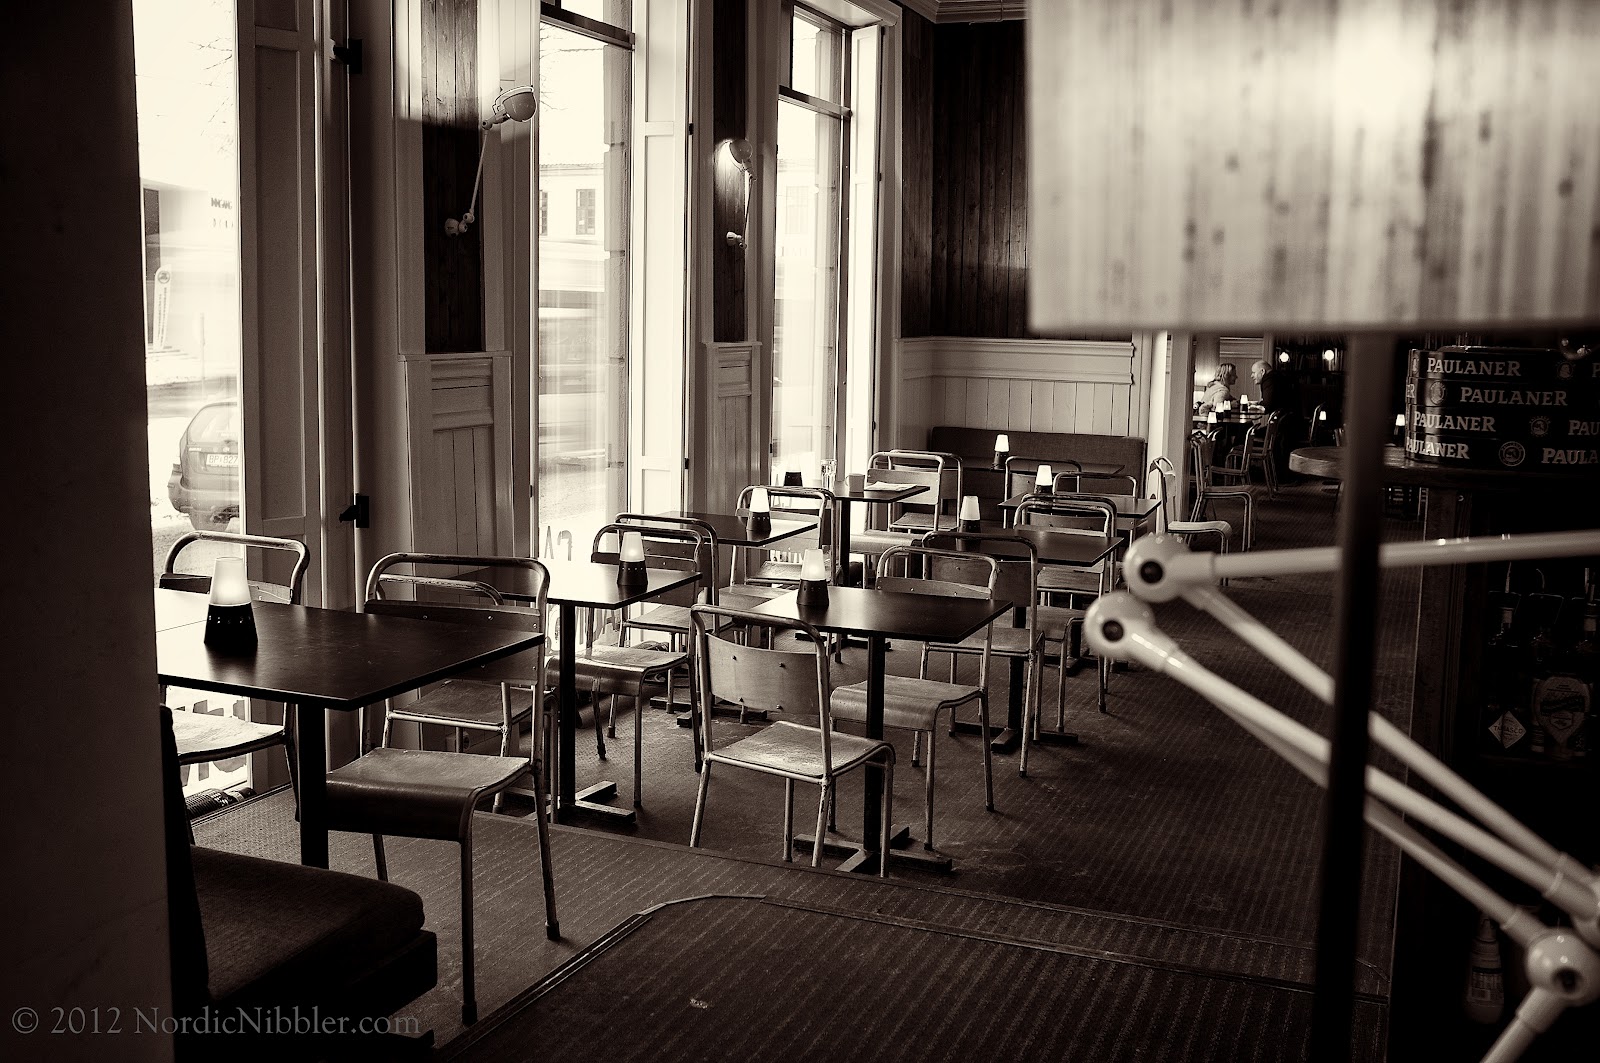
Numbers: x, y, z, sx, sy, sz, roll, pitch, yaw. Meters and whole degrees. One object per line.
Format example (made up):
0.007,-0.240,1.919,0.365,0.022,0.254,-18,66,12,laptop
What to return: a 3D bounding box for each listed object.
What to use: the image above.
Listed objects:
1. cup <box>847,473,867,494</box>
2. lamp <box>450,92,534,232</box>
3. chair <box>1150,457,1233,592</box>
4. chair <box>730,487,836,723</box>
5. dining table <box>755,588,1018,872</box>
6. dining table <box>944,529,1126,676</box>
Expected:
0.316,-0.264,7.040,0.106,0.131,0.111,1,0,0,cup
-1.179,-1.452,4.968,0.229,0.584,0.494,4,10,23,lamp
2.163,-0.075,6.909,0.450,0.679,0.448,3,9,41,chair
0.007,0.334,6.036,0.550,0.963,0.509,23,16,39,chair
0.277,0.509,4.448,0.749,0.913,0.766,10,12,24,dining table
0.903,0.262,4.923,0.521,0.893,0.508,6,16,28,dining table
